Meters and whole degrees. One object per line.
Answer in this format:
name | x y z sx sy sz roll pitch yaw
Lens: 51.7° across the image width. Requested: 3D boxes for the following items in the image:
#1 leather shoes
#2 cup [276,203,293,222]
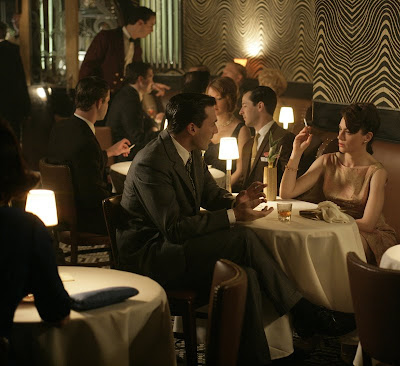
leather shoes | 0.690 0.768 2.315 0.247 0.211 0.095 -18 20 10
cup | 0.468 0.158 2.302 0.086 0.117 0.089 -1 -1 0
